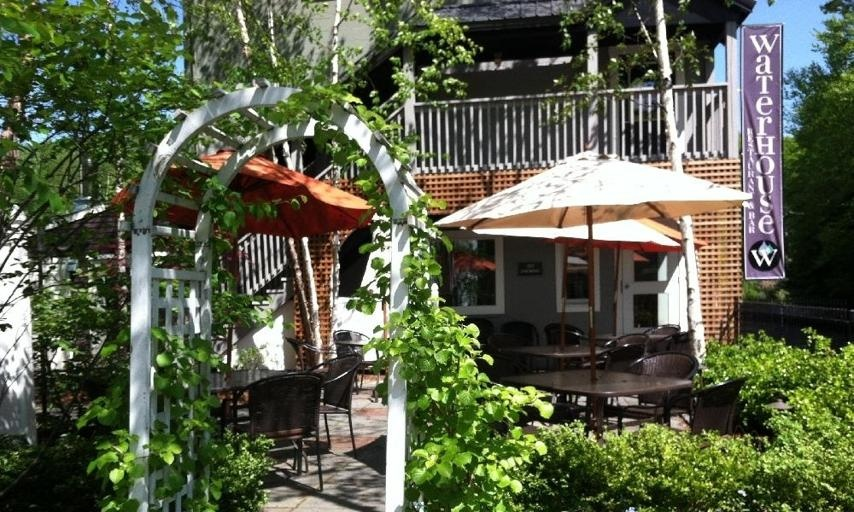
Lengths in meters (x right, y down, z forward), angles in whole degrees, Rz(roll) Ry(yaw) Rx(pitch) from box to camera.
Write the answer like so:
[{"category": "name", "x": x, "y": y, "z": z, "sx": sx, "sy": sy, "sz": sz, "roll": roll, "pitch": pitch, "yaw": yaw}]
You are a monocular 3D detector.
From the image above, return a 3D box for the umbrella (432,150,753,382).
[{"category": "umbrella", "x": 2.128, "y": 0.088, "z": 11.574, "sx": 3.350, "sy": 2.822, "sz": 2.708, "roll": -3, "pitch": -6, "yaw": 18}]
